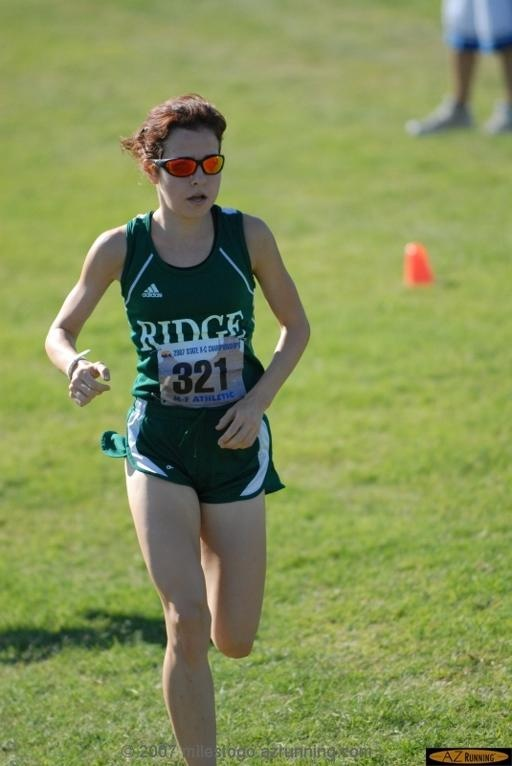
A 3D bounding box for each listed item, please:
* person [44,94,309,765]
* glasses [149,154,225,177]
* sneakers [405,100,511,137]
[{"bbox_3d":[-0.213,0.127,2.560,0.495,1.756,0.816,1,22,32],"label":"person"},{"bbox_3d":[-0.170,-0.562,2.380,0.182,0.061,0.098,-9,17,-3],"label":"glasses"},{"bbox_3d":[0.778,-1.016,3.530,0.429,0.150,0.128,-1,41,4],"label":"sneakers"}]
